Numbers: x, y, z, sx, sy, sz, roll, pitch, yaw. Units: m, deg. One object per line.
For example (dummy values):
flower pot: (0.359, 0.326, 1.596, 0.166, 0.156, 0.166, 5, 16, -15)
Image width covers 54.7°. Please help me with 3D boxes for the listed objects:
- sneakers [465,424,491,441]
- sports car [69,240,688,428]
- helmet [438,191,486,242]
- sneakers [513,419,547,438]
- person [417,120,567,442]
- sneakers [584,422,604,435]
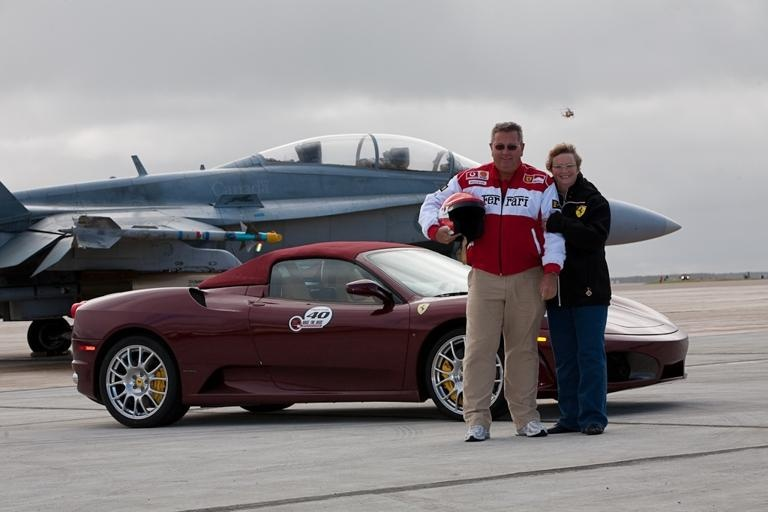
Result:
sneakers: (0.812, 1.507, 6.346, 0.262, 0.128, 0.107, 3, -2, -24)
sports car: (-0.225, 0.839, 8.176, 5.549, 1.109, 2.561, -2, -2, 12)
helmet: (0.719, -0.353, 6.479, 0.427, 0.366, 0.452, 10, -7, -24)
sneakers: (1.279, 1.515, 6.514, 0.137, 0.079, 0.237, 3, -11, -30)
person: (0.980, 0.200, 6.535, 1.150, 2.760, 0.515, 4, -2, 9)
sneakers: (1.807, 1.492, 6.418, 0.173, 0.098, 0.142, 2, -2, 12)
